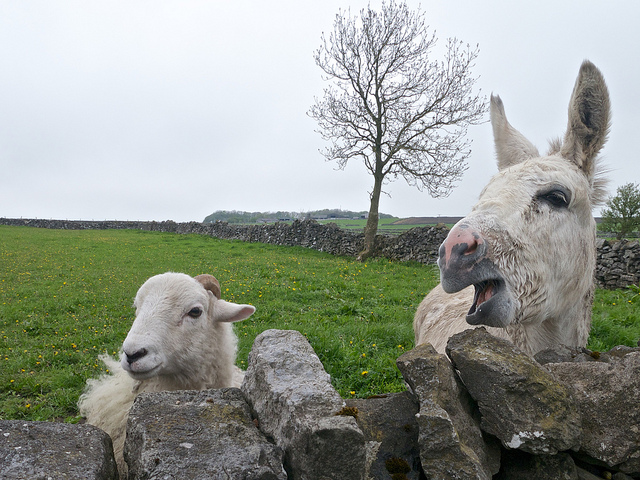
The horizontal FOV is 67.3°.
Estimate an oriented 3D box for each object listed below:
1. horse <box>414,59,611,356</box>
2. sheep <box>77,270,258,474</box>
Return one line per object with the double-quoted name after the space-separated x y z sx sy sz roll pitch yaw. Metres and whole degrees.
1.673 -0.212 4.198 1.439 2.642 1.657 3 5 32 "horse"
-1.697 1.249 5.191 1.352 1.549 2.111 0 -14 -4 "sheep"
